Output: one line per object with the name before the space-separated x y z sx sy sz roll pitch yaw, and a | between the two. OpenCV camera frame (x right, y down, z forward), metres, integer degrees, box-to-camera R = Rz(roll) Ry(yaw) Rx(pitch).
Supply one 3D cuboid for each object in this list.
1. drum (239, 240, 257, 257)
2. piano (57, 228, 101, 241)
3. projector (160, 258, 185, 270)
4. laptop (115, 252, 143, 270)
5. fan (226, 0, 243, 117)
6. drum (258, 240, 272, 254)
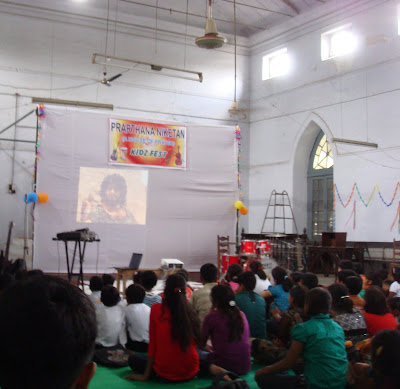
drum | 1.050 1.168 8.309 0.304 0.309 0.319 -1 -4 16
piano | -2.113 0.713 6.783 0.573 0.249 0.650 1 -5 25
projector | -0.509 1.289 7.174 0.430 0.272 0.301 -2 5 3
laptop | -1.344 1.303 7.367 0.432 0.351 0.549 4 -6 -24
fan | 1.284 -4.317 13.078 0.516 3.031 1.860 3 -5 10
drum | 1.412 1.158 8.525 0.280 0.299 0.302 -2 -4 -21
